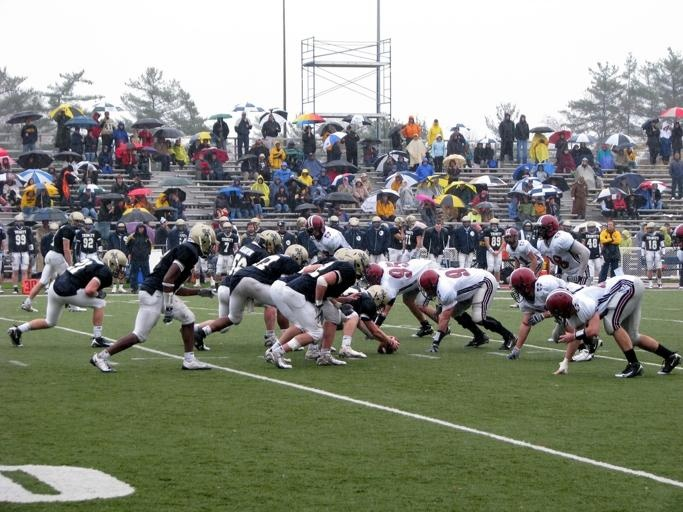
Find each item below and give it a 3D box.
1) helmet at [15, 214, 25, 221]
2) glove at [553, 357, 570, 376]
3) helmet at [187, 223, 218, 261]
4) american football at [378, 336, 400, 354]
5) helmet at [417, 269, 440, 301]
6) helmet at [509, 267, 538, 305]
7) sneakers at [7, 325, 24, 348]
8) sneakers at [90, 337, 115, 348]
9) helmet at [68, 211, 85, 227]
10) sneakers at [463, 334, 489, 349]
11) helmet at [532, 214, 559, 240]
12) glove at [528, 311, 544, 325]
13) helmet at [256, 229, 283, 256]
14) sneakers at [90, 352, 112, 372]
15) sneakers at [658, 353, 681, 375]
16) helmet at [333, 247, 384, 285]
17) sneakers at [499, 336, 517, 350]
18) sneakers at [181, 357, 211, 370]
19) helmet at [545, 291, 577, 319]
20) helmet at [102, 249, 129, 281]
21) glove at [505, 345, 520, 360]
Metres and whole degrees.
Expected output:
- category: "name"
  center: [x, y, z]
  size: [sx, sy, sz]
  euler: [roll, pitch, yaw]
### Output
- category: "helmet"
  center: [-7.521, -0.904, 25.650]
  size: [0.184, 0.216, 0.226]
  euler: [3, -33, -27]
- category: "glove"
  center: [2.744, 1.378, 13.685]
  size: [0.181, 0.182, 0.585]
  euler: [0, -5, 9]
- category: "helmet"
  center: [-1.698, -0.212, 13.312]
  size: [0.410, 0.374, 0.312]
  euler: [0, 8, -24]
- category: "american football"
  center: [0.648, 1.230, 15.160]
  size: [0.265, 0.123, 0.350]
  euler: [-3, -2, 8]
- category: "helmet"
  center: [1.210, 0.399, 15.161]
  size: [0.276, 0.420, 0.324]
  euler: [1, 5, 3]
- category: "helmet"
  center: [2.404, 0.357, 14.485]
  size: [0.413, 0.405, 0.321]
  euler: [-25, 8, 11]
- category: "sneakers"
  center: [-4.528, 1.109, 15.299]
  size: [0.209, 0.164, 0.451]
  euler: [-8, -21, -2]
- category: "sneakers"
  center: [-3.351, 1.208, 15.345]
  size: [0.295, 0.103, 0.194]
  euler: [1, -37, -16]
- category: "helmet"
  center: [-4.572, -0.630, 18.873]
  size: [0.248, 0.263, 0.638]
  euler: [-1, 5, -16]
- category: "sneakers"
  center: [1.992, 1.245, 16.065]
  size: [0.393, 0.182, 0.140]
  euler: [-7, -6, 1]
- category: "helmet"
  center: [2.953, -0.426, 15.852]
  size: [0.382, 0.329, 0.285]
  euler: [-1, 7, 2]
- category: "glove"
  center: [2.566, 0.815, 14.521]
  size: [0.193, 0.193, 0.063]
  euler: [-43, 18, -4]
- category: "helmet"
  center: [-0.987, -0.189, 15.094]
  size: [0.327, 0.307, 0.631]
  euler: [0, 5, -5]
- category: "sneakers"
  center: [-2.913, 1.286, 13.319]
  size: [0.246, 0.163, 0.087]
  euler: [35, 21, -10]
- category: "sneakers"
  center: [4.046, 1.295, 13.516]
  size: [0.261, 0.279, 0.406]
  euler: [2, 5, 17]
- category: "helmet"
  center: [0.186, 0.107, 14.226]
  size: [0.467, 0.336, 0.336]
  euler: [3, 21, -11]
- category: "sneakers"
  center: [2.372, 1.242, 15.613]
  size: [0.111, 0.138, 0.335]
  euler: [-10, 10, 40]
- category: "sneakers"
  center: [-1.795, 1.321, 13.597]
  size: [0.405, 0.165, 0.134]
  euler: [0, 10, -12]
- category: "helmet"
  center: [2.657, 0.578, 13.030]
  size: [0.360, 0.323, 0.278]
  euler: [-1, 10, -24]
- category: "helmet"
  center: [-3.108, 0.103, 15.169]
  size: [0.454, 0.386, 0.344]
  euler: [19, 4, -7]
- category: "glove"
  center: [2.331, 1.287, 14.619]
  size: [0.107, 0.199, 0.291]
  euler: [4, 2, -10]
